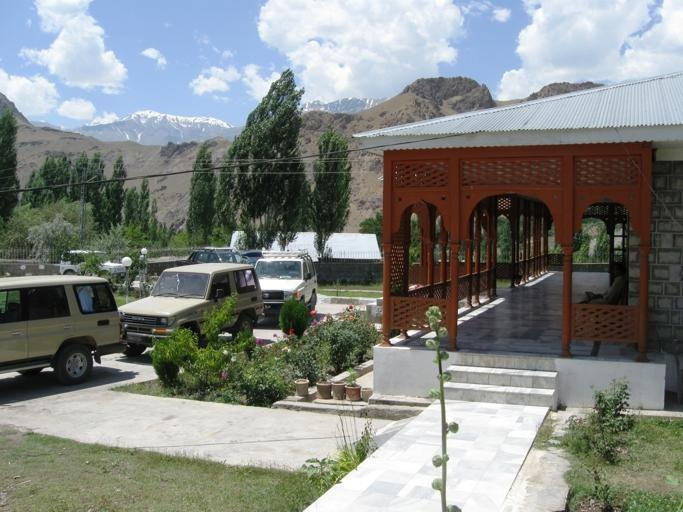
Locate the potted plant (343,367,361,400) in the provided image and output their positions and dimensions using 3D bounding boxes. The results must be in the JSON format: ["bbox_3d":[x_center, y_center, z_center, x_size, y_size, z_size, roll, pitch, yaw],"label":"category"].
[{"bbox_3d":[0.205,2.506,11.452,0.341,0.674,0.379,0,-6,1],"label":"potted plant"}]

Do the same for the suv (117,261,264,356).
[{"bbox_3d":[-3.741,1.088,15.328,1.883,2.013,3.446,-1,1,30],"label":"suv"}]

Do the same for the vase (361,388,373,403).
[{"bbox_3d":[0.472,2.613,11.235,0.167,0.160,0.187,-2,3,-2],"label":"vase"}]

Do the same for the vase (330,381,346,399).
[{"bbox_3d":[-0.060,2.557,11.376,0.222,0.252,0.281,0,-6,3],"label":"vase"}]

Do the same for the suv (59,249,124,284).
[{"bbox_3d":[-10.369,0.397,24.649,1.890,1.276,1.441,-2,2,12],"label":"suv"}]

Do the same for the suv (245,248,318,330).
[{"bbox_3d":[-1.913,0.815,20.051,1.418,1.713,2.709,0,0,8],"label":"suv"}]

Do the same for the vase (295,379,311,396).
[{"bbox_3d":[-0.782,2.510,11.424,0.227,0.251,0.264,-1,-1,4],"label":"vase"}]

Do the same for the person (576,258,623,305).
[{"bbox_3d":[5.750,0.640,13.102,0.923,1.264,0.759,12,5,33],"label":"person"}]
